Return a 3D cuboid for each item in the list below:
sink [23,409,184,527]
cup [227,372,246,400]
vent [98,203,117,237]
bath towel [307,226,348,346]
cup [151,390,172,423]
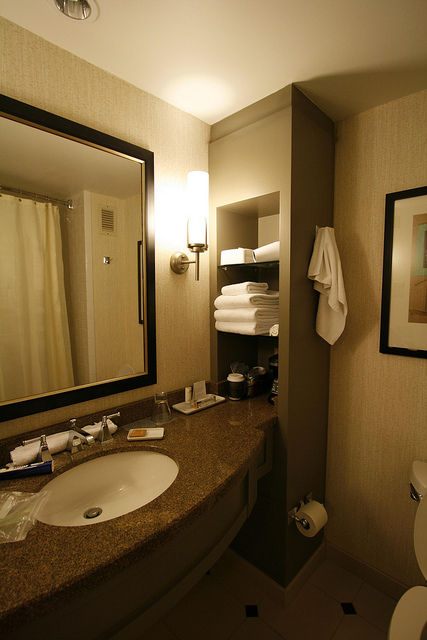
[{"bbox_3d":[-0.321,0.475,1.394,0.399,0.211,0.457,-11,19,-35],"label":"sink"},{"bbox_3d":[0.097,0.289,2.046,0.092,0.112,0.091,1,9,0],"label":"cup"},{"bbox_3d":[-0.380,-0.356,1.643,0.011,0.154,0.107,-5,-8,36],"label":"vent"},{"bbox_3d":[0.452,-0.139,1.904,0.163,0.464,0.163,-2,14,-9],"label":"bath towel"},{"bbox_3d":[-0.200,0.345,1.802,0.093,0.116,0.084,4,-6,-27],"label":"cup"}]
